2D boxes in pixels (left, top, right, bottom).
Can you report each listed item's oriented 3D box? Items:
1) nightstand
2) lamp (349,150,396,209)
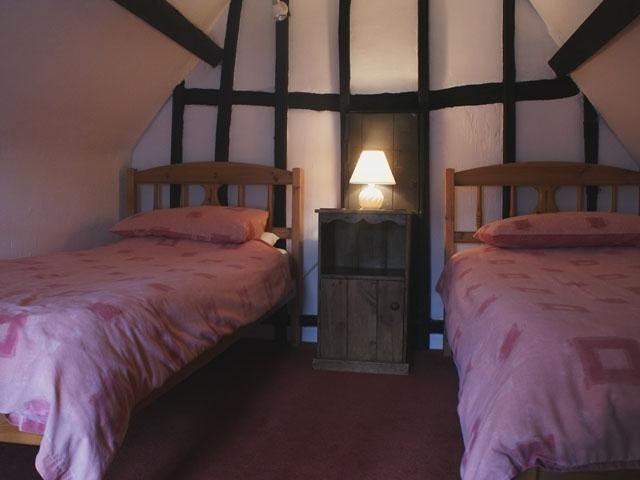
[{"bbox_3d":[0.283,0.299,2.983,0.582,0.964,0.565,1,-2,3],"label":"nightstand"},{"bbox_3d":[0.308,-0.348,3.106,0.310,0.393,0.325,1,-3,-33],"label":"lamp"}]
